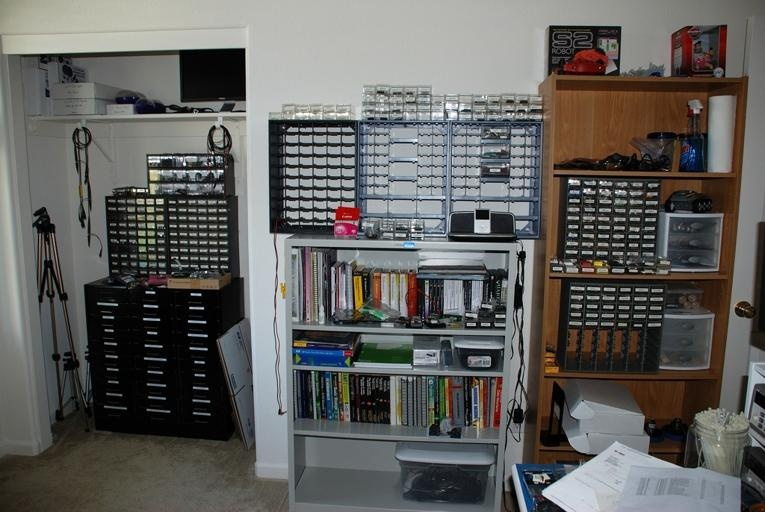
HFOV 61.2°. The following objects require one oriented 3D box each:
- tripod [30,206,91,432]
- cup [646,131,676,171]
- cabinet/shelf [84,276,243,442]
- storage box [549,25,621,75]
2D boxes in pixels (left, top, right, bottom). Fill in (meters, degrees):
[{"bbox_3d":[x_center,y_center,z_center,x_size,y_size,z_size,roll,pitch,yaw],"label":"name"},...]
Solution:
[{"bbox_3d":[-2.716,0.511,5.440,0.282,1.859,0.558,-6,10,-26],"label":"tripod"},{"bbox_3d":[1.842,-0.702,4.390,0.232,0.349,0.254,-1,5,0],"label":"cup"},{"bbox_3d":[-1.763,0.820,5.270,1.255,1.254,0.455,1,5,6],"label":"cabinet/shelf"},{"bbox_3d":[1.362,-1.400,4.379,0.370,0.335,0.123,1,-5,3],"label":"storage box"}]
